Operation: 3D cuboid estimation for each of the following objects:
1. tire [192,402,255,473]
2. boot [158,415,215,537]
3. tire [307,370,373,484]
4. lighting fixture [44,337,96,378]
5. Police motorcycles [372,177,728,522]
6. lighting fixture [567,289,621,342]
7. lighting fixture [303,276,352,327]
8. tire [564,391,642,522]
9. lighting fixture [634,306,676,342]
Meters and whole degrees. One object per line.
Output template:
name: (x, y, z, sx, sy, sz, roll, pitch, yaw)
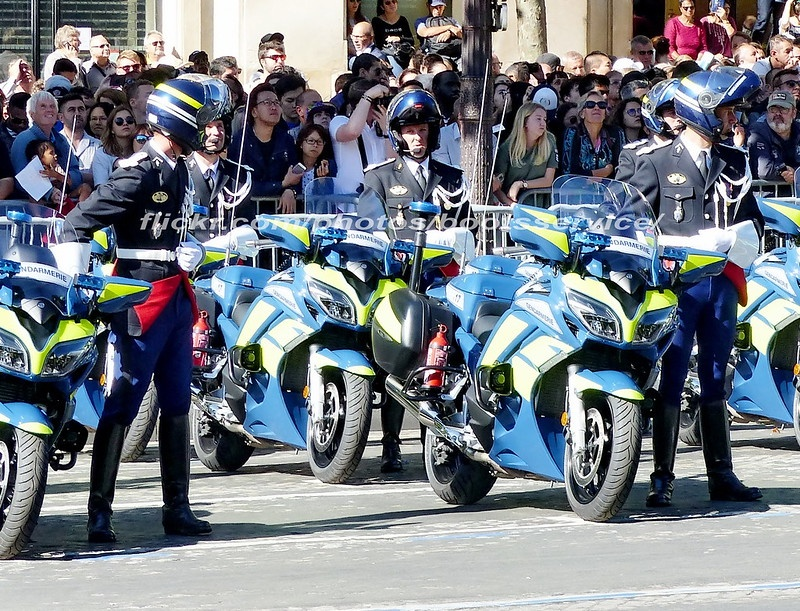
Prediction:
tire: (-1.262, 0.924, 10.085, 0.168, 0.456, 0.422, -8, 19, -36)
boot: (-1.267, 0.967, 8.089, 0.359, 0.680, 0.173, 2, 4, 32)
tire: (-0.413, 0.812, 9.453, 0.243, 0.790, 0.599, -3, 4, -42)
lighting fixture: (-1.729, 0.262, 7.313, 0.086, 0.192, 0.322, 2, 3, 29)
Police motorcycles: (0.847, 0.226, 8.571, 1.730, 2.039, 0.677, 2, 4, 38)
lighting fixture: (1.108, 0.049, 8.010, 0.324, 0.282, 0.088, 2, 4, 39)
lighting fixture: (-0.457, -0.038, 9.395, 0.317, 0.085, 0.208, 32, 17, -22)
tire: (1.175, 0.885, 8.133, 0.296, 0.772, 0.544, -1, 3, -27)
lighting fixture: (1.489, 0.103, 8.060, 0.074, 0.206, 0.369, 3, 4, 43)
